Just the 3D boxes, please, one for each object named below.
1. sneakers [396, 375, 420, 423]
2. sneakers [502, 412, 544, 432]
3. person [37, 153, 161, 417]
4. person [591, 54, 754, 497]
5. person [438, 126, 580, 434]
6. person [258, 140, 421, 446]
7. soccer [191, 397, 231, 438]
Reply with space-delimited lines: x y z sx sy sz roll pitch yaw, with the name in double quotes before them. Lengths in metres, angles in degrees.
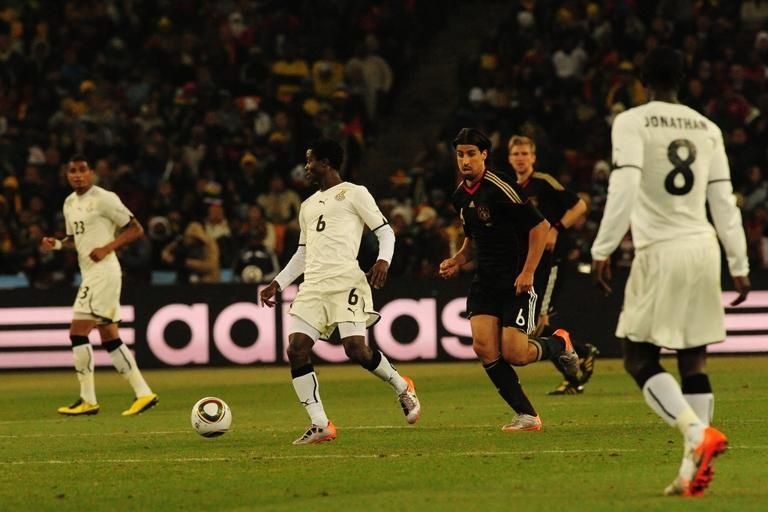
"sneakers" 0.244 1.496 12.677 0.228 0.516 0.198 12 -31 -43
"sneakers" 1.454 1.745 12.370 0.482 0.190 0.161 0 -4 -4
"person" -3.393 0.337 14.033 1.081 3.049 0.896 -4 7 -14
"person" 2.585 0.088 10.834 1.227 3.969 1.148 1 8 25
"person" 1.314 0.227 12.550 1.070 3.155 0.796 -2 7 1
"person" -0.422 0.332 12.325 1.301 3.070 0.751 -4 7 -14
"soccer" -1.847 1.784 12.696 0.520 0.448 0.484 -8 2 -3
